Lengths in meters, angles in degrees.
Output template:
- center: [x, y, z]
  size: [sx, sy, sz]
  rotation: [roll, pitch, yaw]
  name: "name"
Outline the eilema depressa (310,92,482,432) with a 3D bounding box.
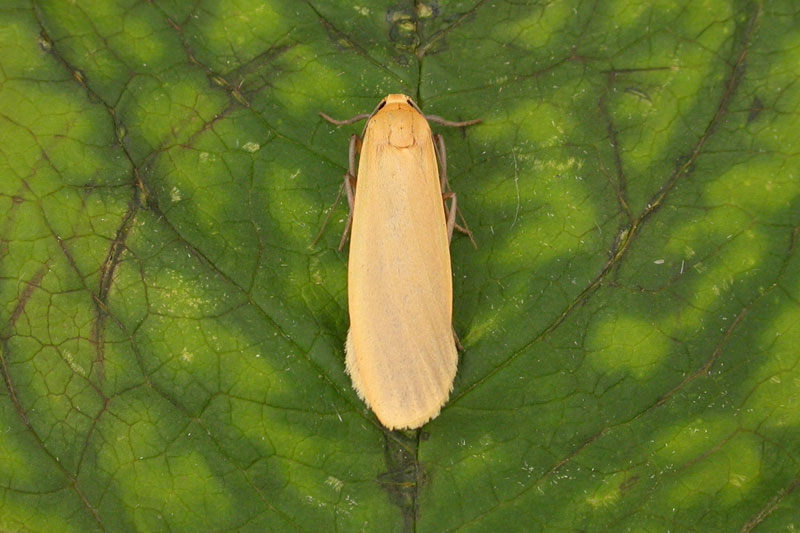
- center: [-0.002, -0.029, 7.910]
  size: [1.231, 0.511, 2.649]
  rotation: [-3, -90, 2]
  name: "eilema depressa"
